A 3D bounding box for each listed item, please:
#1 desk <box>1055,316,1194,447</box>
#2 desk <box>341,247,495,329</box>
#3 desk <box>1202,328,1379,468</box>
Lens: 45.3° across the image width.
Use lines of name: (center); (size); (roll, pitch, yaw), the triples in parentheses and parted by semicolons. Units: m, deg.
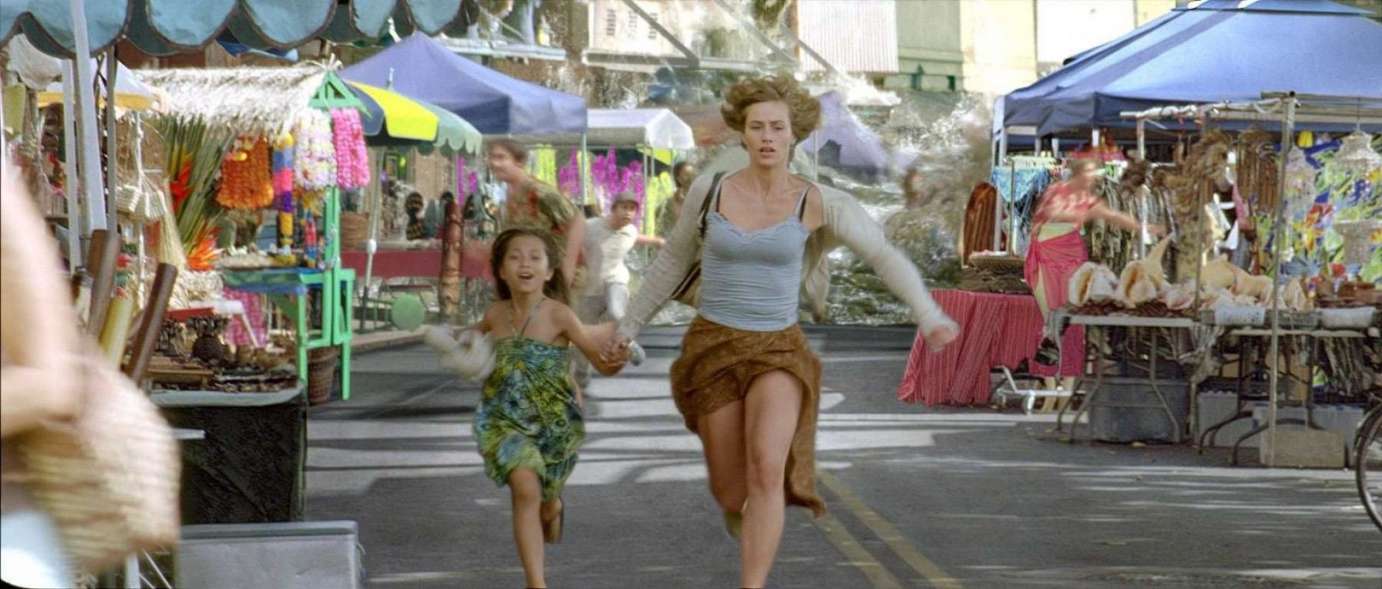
desk: (6.274, 1.252, 24.512); (2.389, 1.558, 1.926); (0, -1, 6)
desk: (-4.826, -0.383, 31.381); (2.215, 1.027, 2.590); (-4, 1, -7)
desk: (8.087, 1.369, 23.733); (2.435, 1.417, 2.070); (1, 5, 3)
